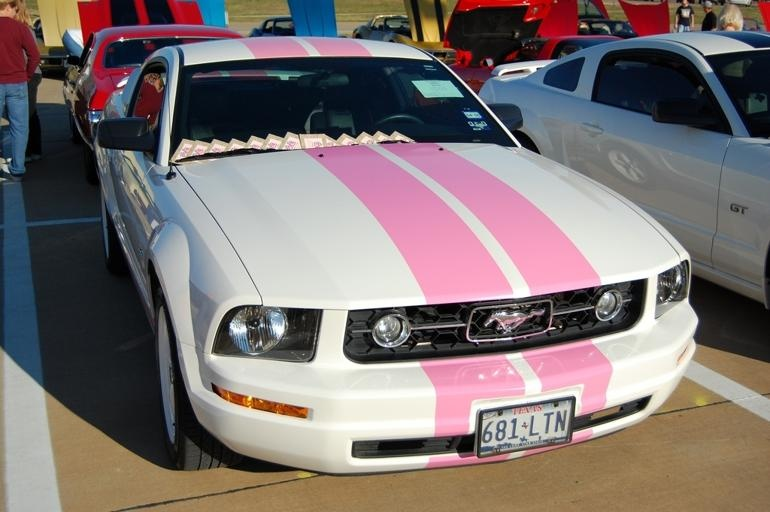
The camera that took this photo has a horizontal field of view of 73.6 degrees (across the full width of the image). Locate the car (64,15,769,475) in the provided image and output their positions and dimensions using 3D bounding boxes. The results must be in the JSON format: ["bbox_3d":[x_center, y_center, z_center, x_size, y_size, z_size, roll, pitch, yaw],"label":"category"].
[{"bbox_3d":[-0.113,-0.125,2.827,2.382,2.000,2.755,-17,27,-32],"label":"car"}]
